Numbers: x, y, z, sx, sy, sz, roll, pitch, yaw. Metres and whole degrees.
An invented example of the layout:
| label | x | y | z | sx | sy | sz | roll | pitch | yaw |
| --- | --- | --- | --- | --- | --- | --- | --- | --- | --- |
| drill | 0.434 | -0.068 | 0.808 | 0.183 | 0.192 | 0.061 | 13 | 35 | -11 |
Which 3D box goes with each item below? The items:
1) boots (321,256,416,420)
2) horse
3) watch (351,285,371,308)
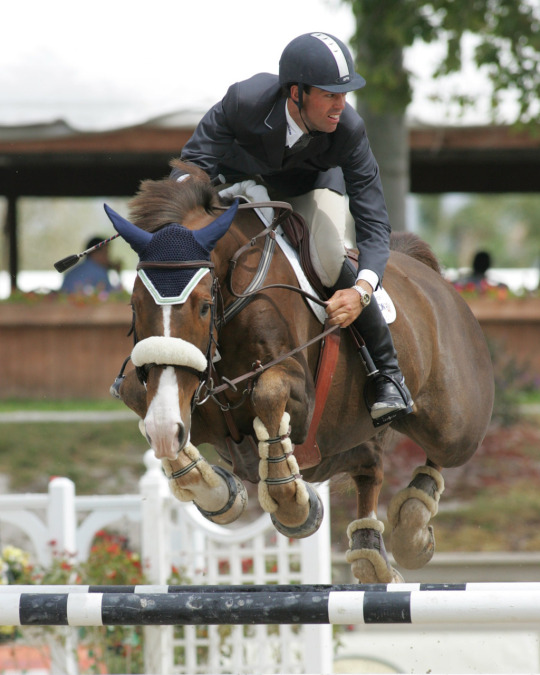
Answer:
| label | x | y | z | sx | sy | sz | roll | pitch | yaw |
| --- | --- | --- | --- | --- | --- | --- | --- | --- | --- |
| boots | 0.464 | 0.074 | 6.520 | 0.226 | 0.852 | 0.240 | -21 | 0 | 15 |
| horse | 0.129 | 0.200 | 6.467 | 0.613 | 1.847 | 1.977 | -1 | 1 | 38 |
| watch | 0.368 | -0.171 | 6.242 | 0.046 | 0.066 | 0.069 | -43 | 47 | -18 |
